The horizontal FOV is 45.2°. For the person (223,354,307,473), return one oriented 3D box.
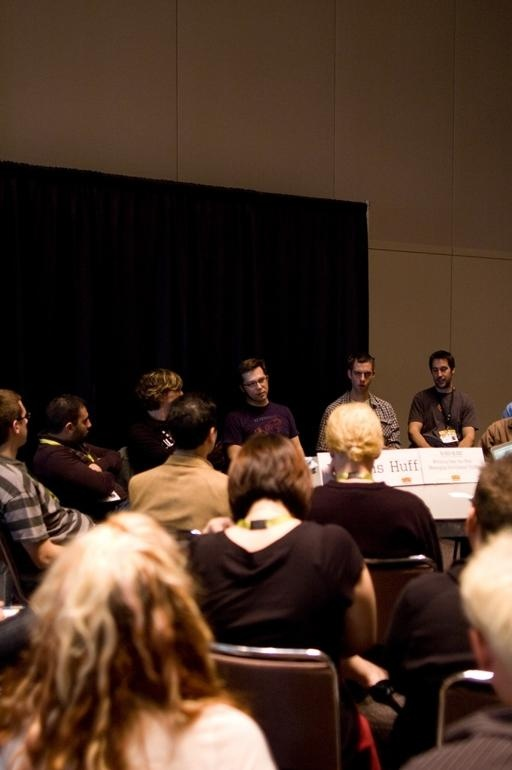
[{"bbox_3d":[0.046,0.222,3.913,0.527,0.788,0.418,-6,-11,-20],"label":"person"}]
